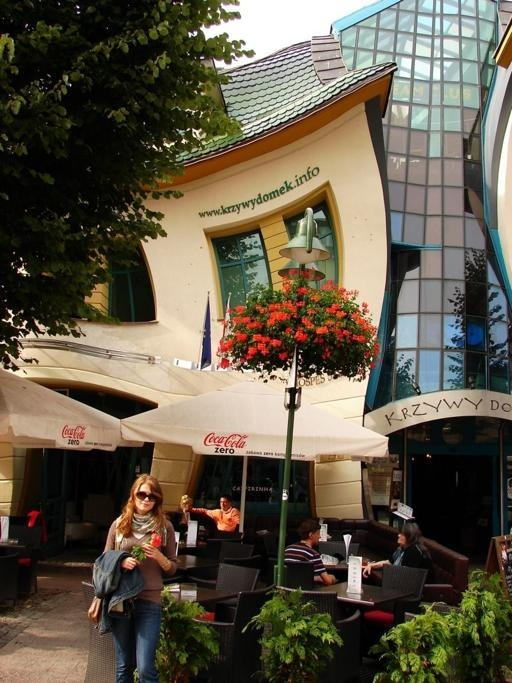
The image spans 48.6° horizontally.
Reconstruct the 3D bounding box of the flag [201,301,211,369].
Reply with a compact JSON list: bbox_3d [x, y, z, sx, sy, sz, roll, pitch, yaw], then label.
[{"bbox_3d":[-1.152,-0.251,13.454,0.358,1.816,0.136,15,22,29],"label":"flag"}]

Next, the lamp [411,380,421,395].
[{"bbox_3d":[4.296,1.233,15.290,0.140,0.403,0.193,-21,-11,23],"label":"lamp"}]

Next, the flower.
[{"bbox_3d":[0.434,-0.102,6.224,1.533,1.059,1.449,0,-6,4],"label":"flower"}]

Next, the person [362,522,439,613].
[{"bbox_3d":[1.926,2.648,7.199,0.893,1.086,1.165,4,-11,-5],"label":"person"}]
